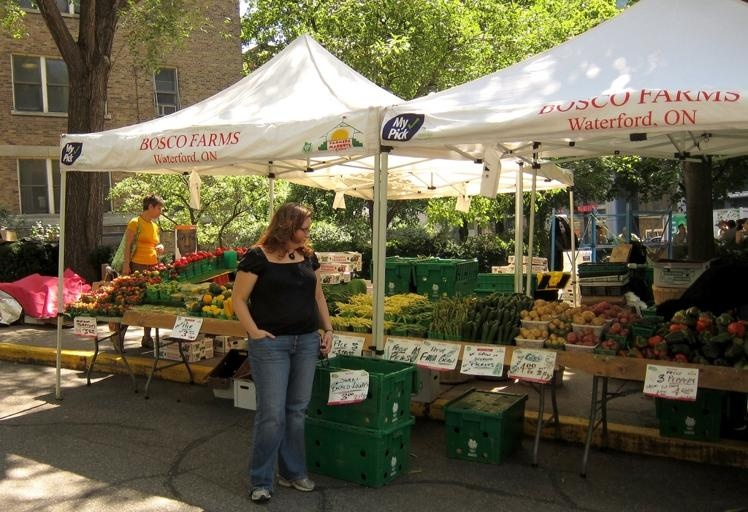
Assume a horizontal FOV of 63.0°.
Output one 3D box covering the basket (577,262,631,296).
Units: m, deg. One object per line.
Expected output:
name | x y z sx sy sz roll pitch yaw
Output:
basket | 3.349 0.342 8.931 0.677 0.352 0.856 4 12 20

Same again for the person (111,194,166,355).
person | -3.842 -0.233 10.133 1.015 2.693 0.975 2 14 -10

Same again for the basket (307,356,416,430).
basket | -0.126 1.430 6.468 0.938 0.521 0.681 -3 -3 38

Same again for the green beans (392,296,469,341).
green beans | 0.756 0.747 7.565 0.533 0.214 0.715 1 4 19

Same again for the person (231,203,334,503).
person | -0.929 0.958 6.000 0.815 2.873 0.561 -4 13 -14
